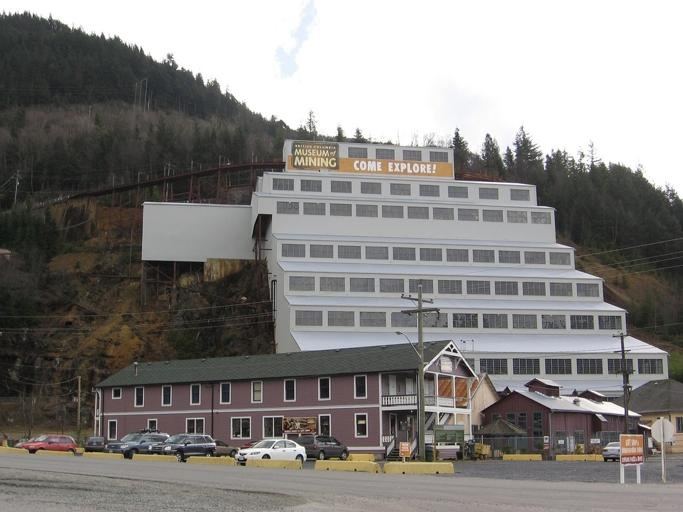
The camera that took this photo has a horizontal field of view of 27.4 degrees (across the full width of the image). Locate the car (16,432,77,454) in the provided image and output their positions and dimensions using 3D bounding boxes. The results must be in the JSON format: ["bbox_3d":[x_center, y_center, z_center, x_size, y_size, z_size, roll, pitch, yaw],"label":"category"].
[{"bbox_3d":[-39.856,25.512,190.299,7.418,2.842,3.563,4,-16,-11],"label":"car"}]

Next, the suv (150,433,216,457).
[{"bbox_3d":[-20.780,25.179,186.927,6.360,2.935,3.654,5,-10,-21],"label":"suv"}]

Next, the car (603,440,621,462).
[{"bbox_3d":[37.776,27.392,196.186,2.192,2.749,1.617,-5,-16,20],"label":"car"}]

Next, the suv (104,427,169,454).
[{"bbox_3d":[-27.851,24.495,188.901,6.727,3.097,3.610,4,-9,-22],"label":"suv"}]

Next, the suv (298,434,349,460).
[{"bbox_3d":[-2.315,26.152,189.521,5.153,2.500,3.463,0,-4,-35],"label":"suv"}]
